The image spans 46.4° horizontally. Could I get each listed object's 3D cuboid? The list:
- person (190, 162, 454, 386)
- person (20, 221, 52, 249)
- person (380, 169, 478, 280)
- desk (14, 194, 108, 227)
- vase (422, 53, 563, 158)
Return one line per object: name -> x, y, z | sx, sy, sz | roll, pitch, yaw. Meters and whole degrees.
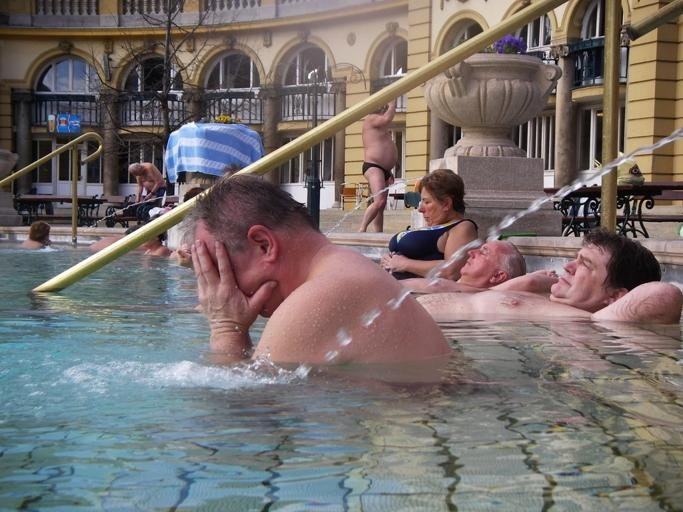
person -> -0.105, 0.124, 2.904 | 0.783, 0.846, 0.673 | -25, -8, 5
person -> -3.828, -0.272, 9.941 | 0.326, 0.338, 0.787 | -2, 4, -21
person -> 0.638, -0.180, 6.024 | 0.681, 0.881, 1.065 | -3, 5, -7
desk -> -8.585, -1.413, 23.720 | 2.185, 0.878, 8.588 | -2, 4, -22
vase -> 1.423, -1.452, 7.472 | 1.134, 0.681, 1.132 | 4, 2, 37
